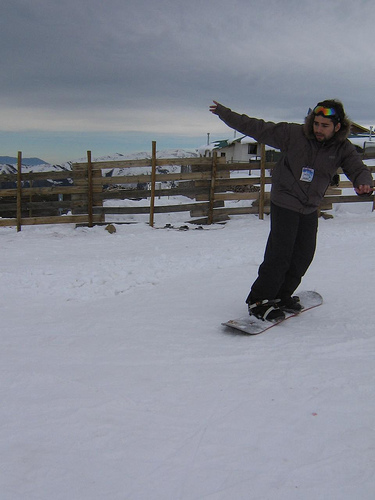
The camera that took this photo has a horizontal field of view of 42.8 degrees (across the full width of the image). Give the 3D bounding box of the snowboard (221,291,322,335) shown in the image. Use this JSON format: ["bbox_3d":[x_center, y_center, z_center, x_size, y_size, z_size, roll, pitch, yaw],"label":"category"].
[{"bbox_3d":[0.811,0.531,4.310,0.329,0.130,1.206,9,15,43],"label":"snowboard"}]

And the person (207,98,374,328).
[{"bbox_3d":[0.908,-0.269,3.979,1.173,1.826,0.469,3,14,18],"label":"person"}]

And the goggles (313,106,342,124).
[{"bbox_3d":[1.045,-1.029,3.591,0.144,0.056,0.165,12,-20,36],"label":"goggles"}]
